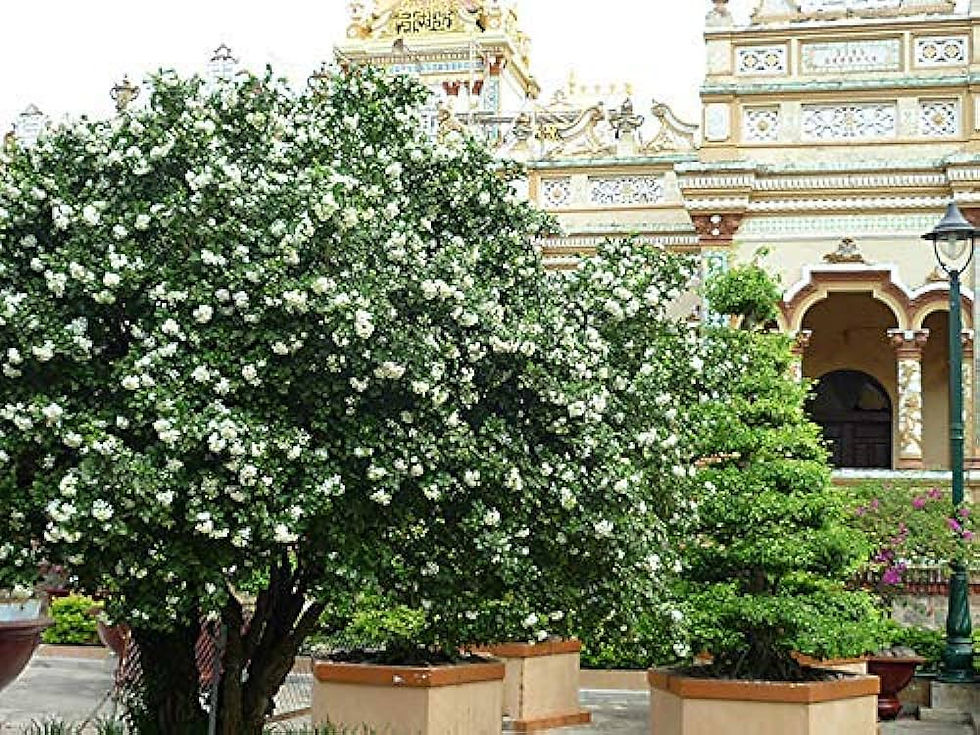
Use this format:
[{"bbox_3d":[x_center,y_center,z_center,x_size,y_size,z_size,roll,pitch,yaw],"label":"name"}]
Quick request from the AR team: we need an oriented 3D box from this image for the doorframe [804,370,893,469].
[{"bbox_3d":[7.123,1.242,27.816,1.817,2.236,0.109,0,5,-3],"label":"doorframe"}]

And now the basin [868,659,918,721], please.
[{"bbox_3d":[5.367,4.568,19.416,1.065,0.740,1.066,0,-6,0],"label":"basin"}]
